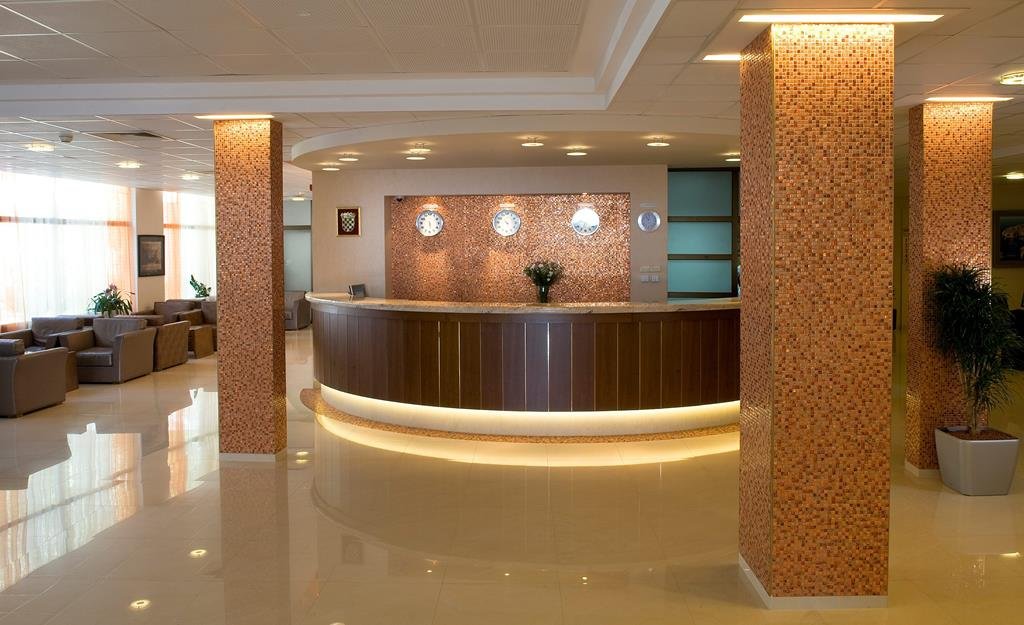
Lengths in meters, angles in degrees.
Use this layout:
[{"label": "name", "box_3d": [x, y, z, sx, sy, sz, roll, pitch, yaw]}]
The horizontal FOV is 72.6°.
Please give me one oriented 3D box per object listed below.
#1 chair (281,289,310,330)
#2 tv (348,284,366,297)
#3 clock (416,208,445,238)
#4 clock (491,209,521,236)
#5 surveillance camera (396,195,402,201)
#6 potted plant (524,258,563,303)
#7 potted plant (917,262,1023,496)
[{"label": "chair", "box_3d": [-6.118, -0.028, 19.783, 0.639, 1.117, 1.024, -4, 15, -13]}, {"label": "tv", "box_3d": [-2.910, -0.430, 13.207, 0.310, 0.340, 0.298, 2, -2, -35]}, {"label": "clock", "box_3d": [-1.673, -1.757, 13.548, 0.542, 0.501, 0.126, 17, 8, 4]}, {"label": "clock", "box_3d": [-0.119, -1.759, 13.550, 0.538, 0.492, 0.121, 3, 5, 10]}, {"label": "surveillance camera", "box_3d": [-2.232, -2.254, 13.747, 0.142, 0.079, 0.028, 1, 15, 4]}, {"label": "potted plant", "box_3d": [0.612, -0.639, 13.507, 0.809, 0.821, 0.812, 1, 9, 12]}, {"label": "potted plant", "box_3d": [5.485, 0.739, 8.255, 0.812, 2.569, 1.098, -2, 15, -7]}]
